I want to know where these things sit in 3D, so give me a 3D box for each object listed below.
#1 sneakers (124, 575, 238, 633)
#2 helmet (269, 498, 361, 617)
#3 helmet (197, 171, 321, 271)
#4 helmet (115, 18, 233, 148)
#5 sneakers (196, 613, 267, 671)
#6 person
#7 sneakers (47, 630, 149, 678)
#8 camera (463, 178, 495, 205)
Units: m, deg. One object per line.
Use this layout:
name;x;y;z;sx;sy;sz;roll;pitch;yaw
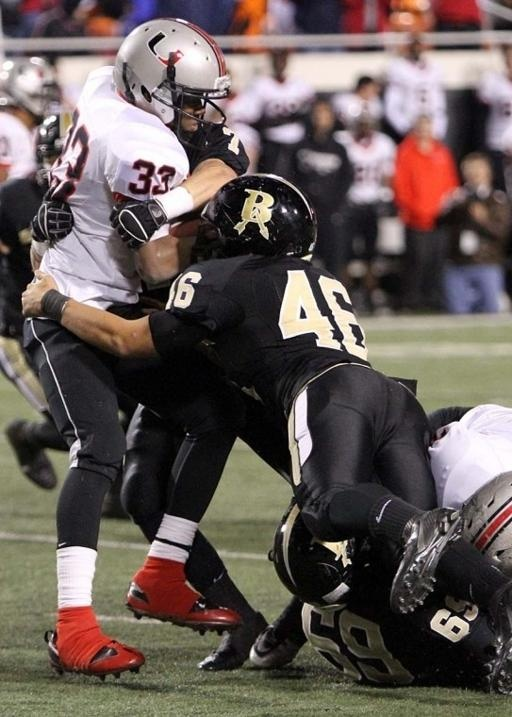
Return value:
sneakers;-0.204;0.582;1.880;0.305;0.126;0.102;6;6;6
helmet;0.065;0.363;1.470;0.205;0.163;0.148;31;-26;-28
helmet;-0.025;-0.297;1.781;0.265;0.184;0.187;14;14;25
helmet;-0.151;-0.726;2.133;0.370;0.283;0.255;14;22;2
sneakers;-0.043;0.651;1.833;0.068;0.087;0.202;-24;-3;36
person;-0.055;-0.145;1.764;1.237;1.551;0.578;-2;-7;32
sneakers;-0.334;0.574;1.591;0.222;0.092;0.086;-6;0;31
camera;1.970;-1.467;7.063;0.206;0.090;0.252;10;-1;-14
